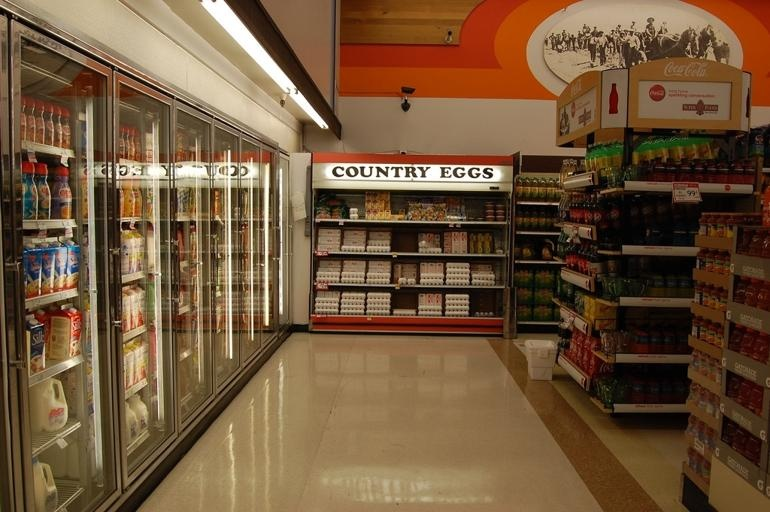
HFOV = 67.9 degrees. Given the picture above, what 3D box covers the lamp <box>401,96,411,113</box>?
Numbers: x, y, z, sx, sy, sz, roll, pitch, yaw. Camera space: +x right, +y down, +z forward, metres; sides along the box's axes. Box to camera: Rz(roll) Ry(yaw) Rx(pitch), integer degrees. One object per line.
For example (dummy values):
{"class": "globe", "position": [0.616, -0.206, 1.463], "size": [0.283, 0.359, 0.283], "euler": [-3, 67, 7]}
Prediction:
{"class": "lamp", "position": [0.360, -2.644, 9.884], "size": [0.168, 0.237, 0.085], "euler": [0, 13, -2]}
